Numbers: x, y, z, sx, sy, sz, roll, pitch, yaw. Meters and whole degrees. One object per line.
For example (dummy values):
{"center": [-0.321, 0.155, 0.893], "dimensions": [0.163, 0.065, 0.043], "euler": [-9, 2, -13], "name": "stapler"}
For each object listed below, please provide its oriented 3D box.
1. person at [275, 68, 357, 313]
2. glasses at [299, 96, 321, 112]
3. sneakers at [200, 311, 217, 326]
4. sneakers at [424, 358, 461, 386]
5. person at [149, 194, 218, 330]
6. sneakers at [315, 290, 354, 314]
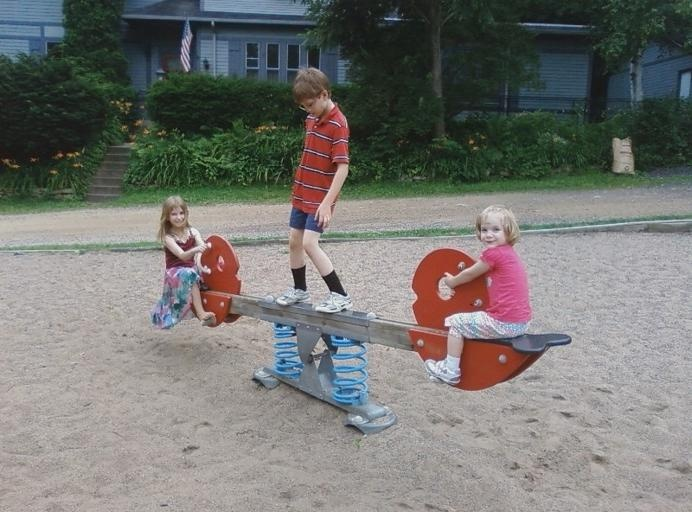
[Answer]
{"center": [-0.338, -0.767, 9.982], "dimensions": [0.808, 2.800, 0.790], "euler": [0, 11, -5], "name": "person"}
{"center": [-0.386, -1.728, 9.838], "dimensions": [0.170, 0.064, 0.177], "euler": [17, 40, 39], "name": "glasses"}
{"center": [-1.720, 0.801, 10.680], "dimensions": [0.213, 0.120, 0.079], "euler": [-5, 11, 36], "name": "sneakers"}
{"center": [1.063, 1.259, 9.379], "dimensions": [0.467, 0.213, 0.192], "euler": [21, 4, 25], "name": "sneakers"}
{"center": [-2.072, 0.128, 10.782], "dimensions": [0.806, 1.730, 0.489], "euler": [1, 11, 1], "name": "person"}
{"center": [-0.142, 0.553, 9.987], "dimensions": [0.514, 0.254, 0.183], "euler": [-2, 5, -11], "name": "sneakers"}
